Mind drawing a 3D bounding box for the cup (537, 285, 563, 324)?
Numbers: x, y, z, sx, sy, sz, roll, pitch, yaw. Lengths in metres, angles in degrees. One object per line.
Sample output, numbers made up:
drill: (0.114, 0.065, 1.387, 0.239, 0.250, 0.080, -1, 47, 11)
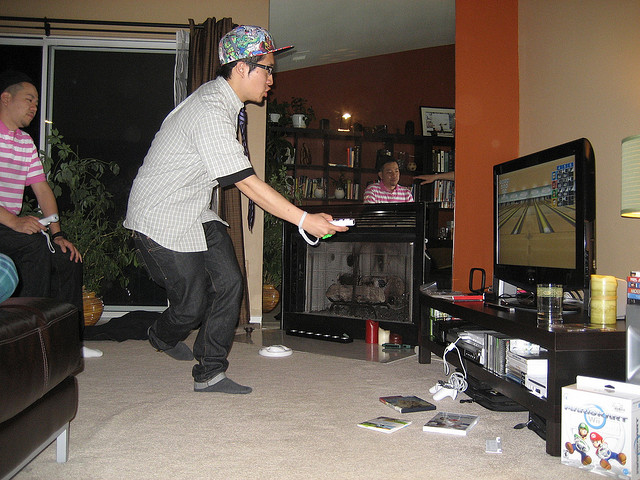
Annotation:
cup: (0.982, 0.271, 2.087, 0.098, 0.149, 0.165, 2, 2, 24)

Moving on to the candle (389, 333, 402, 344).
candle: (0.562, 0.711, 3.611, 0.094, 0.095, 0.053, 1, -1, 17)

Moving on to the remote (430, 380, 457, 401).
remote: (0.616, 0.745, 2.447, 0.079, 0.036, 0.081, -18, 25, -16)

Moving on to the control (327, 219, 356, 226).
control: (0.096, -0.081, 2.240, 0.131, 0.026, 0.080, 0, 2, -12)

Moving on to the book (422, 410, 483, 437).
book: (0.597, 0.801, 2.166, 0.173, 0.032, 0.328, 3, 3, 38)

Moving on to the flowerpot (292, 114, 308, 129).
flowerpot: (-0.258, -1.492, 6.155, 0.170, 0.140, 0.161, -1, 9, -10)

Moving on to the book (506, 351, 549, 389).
book: (0.894, 0.533, 2.091, 0.141, 0.142, 0.217, 1, 2, -8)

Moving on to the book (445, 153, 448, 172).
book: (1.719, -1.065, 6.643, 0.036, 0.237, 0.012, 0, 2, -6)

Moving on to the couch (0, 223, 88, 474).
couch: (-1.092, 0.411, 1.923, 0.248, 0.423, 0.823, -1, 7, -33)

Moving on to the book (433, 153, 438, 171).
book: (1.589, -1.075, 6.700, 0.051, 0.244, 0.046, 1, 2, 8)

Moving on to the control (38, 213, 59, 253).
control: (-1.678, -0.043, 3.025, 0.100, 0.237, 0.257, 0, 2, -21)

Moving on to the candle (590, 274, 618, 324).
candle: (1.198, 0.252, 2.066, 0.097, 0.198, 0.082, 2, 2, 30)

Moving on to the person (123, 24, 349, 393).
person: (-0.531, -0.128, 2.440, 1.050, 1.813, 0.403, 1, 2, 22)

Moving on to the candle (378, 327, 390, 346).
candle: (0.472, 0.712, 3.601, 0.082, 0.103, 0.083, 1, 2, 7)

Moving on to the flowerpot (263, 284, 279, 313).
flowerpot: (-0.530, 0.629, 5.268, 0.229, 0.283, 0.239, 1, 1, 23)

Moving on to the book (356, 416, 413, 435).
book: (0.288, 0.800, 2.138, 0.235, 0.024, 0.156, -1, 3, -42)

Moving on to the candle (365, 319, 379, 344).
candle: (0.389, 0.674, 3.705, 0.123, 0.229, 0.181, 1, -1, 8)

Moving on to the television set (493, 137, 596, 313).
television set: (1.165, -0.053, 2.577, 0.227, 0.807, 0.819, 0, 0, -8)
